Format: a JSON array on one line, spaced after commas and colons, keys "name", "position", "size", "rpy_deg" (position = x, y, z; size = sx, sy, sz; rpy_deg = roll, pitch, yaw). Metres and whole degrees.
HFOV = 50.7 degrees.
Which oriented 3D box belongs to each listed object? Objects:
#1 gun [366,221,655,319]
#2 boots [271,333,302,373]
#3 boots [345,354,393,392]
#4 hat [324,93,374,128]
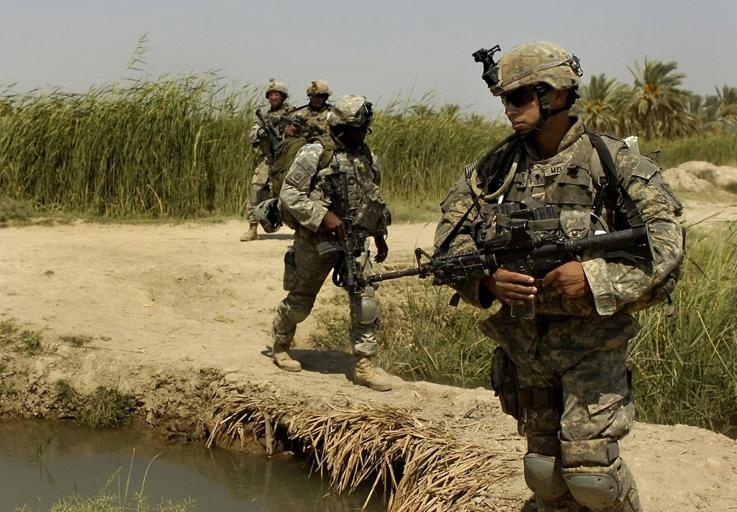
[{"name": "gun", "position": [0.804, 0.093, 4.697], "size": [1.702, 0.611, 0.221], "rpy_deg": [-10, -15, 24]}, {"name": "boots", "position": [-0.751, 0.854, 7.094], "size": [0.167, 0.337, 0.380], "rpy_deg": [3, 12, -37]}, {"name": "boots", "position": [0.079, 1.033, 6.975], "size": [0.519, 0.377, 0.178], "rpy_deg": [4, 6, 19]}, {"name": "hat", "position": [-0.154, -1.203, 6.469], "size": [0.358, 0.253, 0.191], "rpy_deg": [2, 3, -8]}]
